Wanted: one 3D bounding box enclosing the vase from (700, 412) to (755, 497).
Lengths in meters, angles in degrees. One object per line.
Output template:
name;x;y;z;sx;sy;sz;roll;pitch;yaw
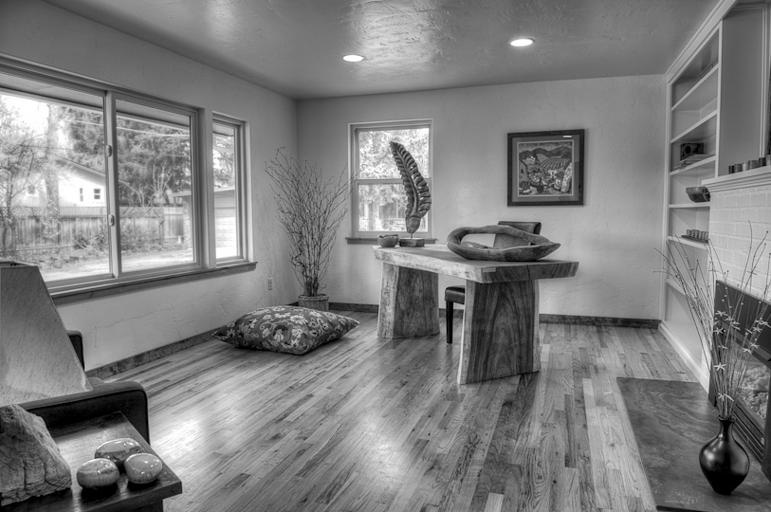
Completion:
vase;1.654;0.980;2.242;0.194;0.378;0.087;0;6;7

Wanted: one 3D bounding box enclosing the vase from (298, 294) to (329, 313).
vase;-0.884;0.570;5.733;0.251;0.247;0.238;5;6;40

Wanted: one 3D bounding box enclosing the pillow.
pillow;-1.027;0.740;4.613;1.301;0.364;0.645;-1;5;5

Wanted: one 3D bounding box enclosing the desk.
desk;0.680;0.467;4.104;0.821;1.013;1.794;-4;6;-27

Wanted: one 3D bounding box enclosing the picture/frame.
picture/frame;1.916;-1.077;5.420;0.919;0.939;0.072;1;1;12
